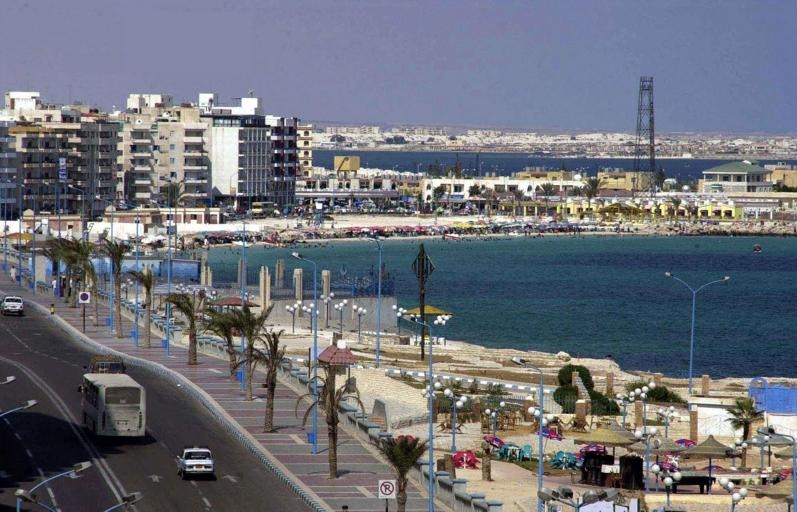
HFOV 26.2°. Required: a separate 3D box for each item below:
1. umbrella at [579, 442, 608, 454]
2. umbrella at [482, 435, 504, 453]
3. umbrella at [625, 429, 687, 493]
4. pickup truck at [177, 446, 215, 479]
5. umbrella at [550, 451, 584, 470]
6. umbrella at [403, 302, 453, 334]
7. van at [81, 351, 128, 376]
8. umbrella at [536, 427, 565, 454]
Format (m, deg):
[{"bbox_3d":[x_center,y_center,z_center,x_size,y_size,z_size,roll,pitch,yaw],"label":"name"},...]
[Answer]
[{"bbox_3d":[14.113,14.129,124.673,1.955,1.080,0.972,3,-42,0],"label":"umbrella"},{"bbox_3d":[7.016,13.980,127.878,1.142,1.181,1.146,29,14,13],"label":"umbrella"},{"bbox_3d":[18.569,15.382,123.010,4.233,3.978,4.622,6,8,34],"label":"umbrella"},{"bbox_3d":[-14.147,14.148,118.157,1.621,1.285,2.674,0,7,-12],"label":"pickup truck"},{"bbox_3d":[12.056,14.947,124.699,1.423,0.606,1.416,-1,7,-14],"label":"umbrella"},{"bbox_3d":[2.718,6.430,171.215,3.705,2.454,3.690,1,-3,5],"label":"umbrella"},{"bbox_3d":[-21.721,8.083,126.435,2.040,1.692,2.985,-1,7,-16],"label":"van"},{"bbox_3d":[11.501,13.884,129.240,1.489,1.639,4.332,0,1,7],"label":"umbrella"}]
